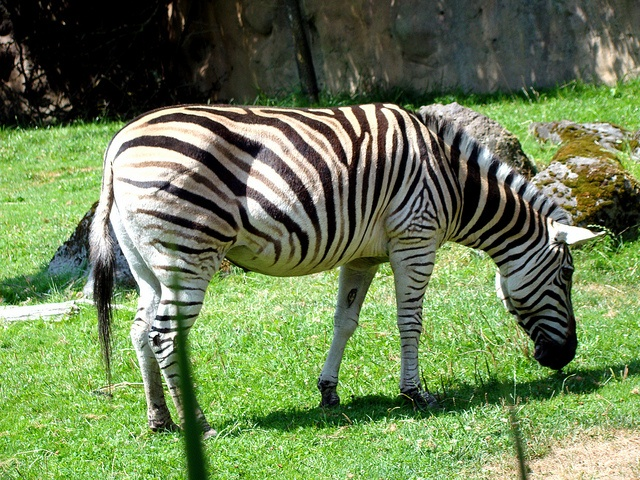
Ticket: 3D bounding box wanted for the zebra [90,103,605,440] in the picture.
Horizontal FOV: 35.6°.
[{"bbox_3d":[1.160,-0.442,13.518,8.472,5.387,2.454,-4,7,-13],"label":"zebra"}]
